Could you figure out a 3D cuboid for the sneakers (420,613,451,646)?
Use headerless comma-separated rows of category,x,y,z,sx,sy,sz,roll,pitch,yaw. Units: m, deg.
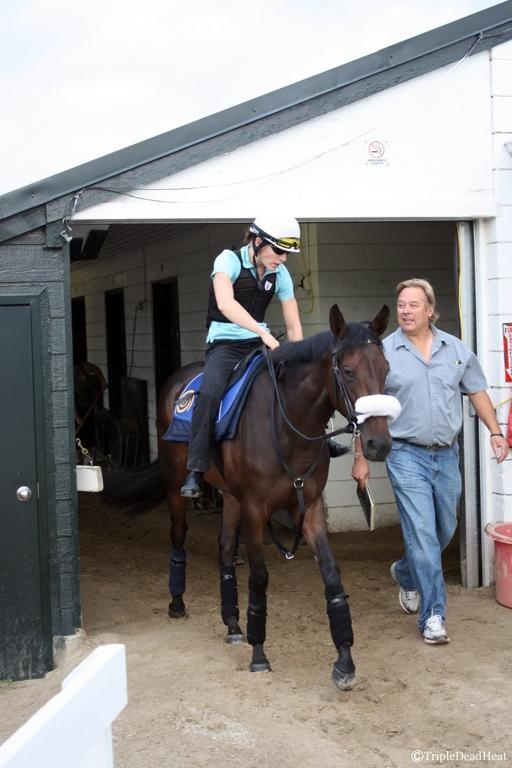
sneakers,0.998,1.378,4.207,0.096,0.088,0.206,0,-3,-1

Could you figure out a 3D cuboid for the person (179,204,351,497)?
person,-0.009,-0.181,4.154,1.104,1.469,0.739,-7,12,-31

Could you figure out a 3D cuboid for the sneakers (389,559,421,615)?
sneakers,0.963,1.312,4.912,0.148,0.385,0.163,-14,3,-14

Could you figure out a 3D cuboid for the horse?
horse,-0.001,0.587,4.238,0.711,1.797,2.667,3,-4,-25

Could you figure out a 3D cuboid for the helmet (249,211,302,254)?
helmet,0.102,-0.742,3.772,0.232,0.133,0.181,25,11,29
